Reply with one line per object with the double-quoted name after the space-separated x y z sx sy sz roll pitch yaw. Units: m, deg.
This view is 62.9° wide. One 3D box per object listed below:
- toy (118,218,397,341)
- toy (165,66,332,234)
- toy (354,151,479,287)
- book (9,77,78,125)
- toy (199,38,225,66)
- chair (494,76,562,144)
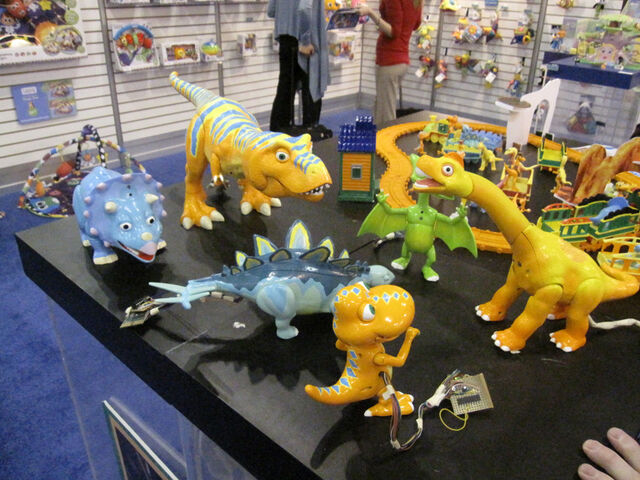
-0.146 0.142 2.208 1.246 0.576 0.430 -3 30 -5 "toy"
-0.350 -0.406 2.615 0.477 0.448 1.070 -14 46 -38 "toy"
0.445 -0.095 2.285 0.520 0.590 0.181 11 34 13 "toy"
-2.480 -1.228 4.578 0.042 0.266 0.414 20 37 37 "book"
-1.161 -2.037 5.630 0.154 0.229 0.318 12 31 18 "toy"
1.520 -0.945 3.817 0.387 0.474 0.318 4 27 14 "chair"
